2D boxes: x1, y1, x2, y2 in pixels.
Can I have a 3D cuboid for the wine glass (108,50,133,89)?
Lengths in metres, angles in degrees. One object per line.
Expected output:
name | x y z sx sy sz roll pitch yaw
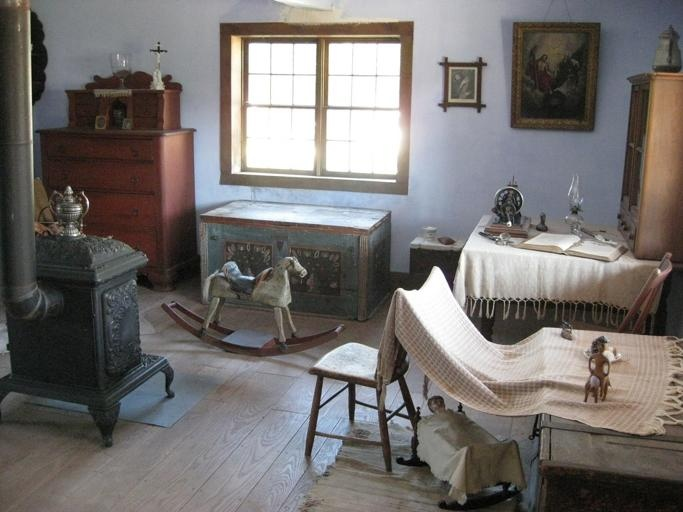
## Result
wine glass | -2.466 -2.091 6.304 0.196 0.379 0.290 -5 16 -19

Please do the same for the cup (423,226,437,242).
cup | 0.920 -0.235 5.816 0.128 0.110 0.144 2 4 27

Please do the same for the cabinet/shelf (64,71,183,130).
cabinet/shelf | -2.485 -1.744 6.337 1.221 0.586 0.539 2 15 5

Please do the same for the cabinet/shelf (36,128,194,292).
cabinet/shelf | -2.187 -0.506 5.384 1.535 1.828 1.022 2 11 6

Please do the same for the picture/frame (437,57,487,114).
picture/frame | 1.266 -1.795 5.806 0.538 0.604 0.051 3 12 14

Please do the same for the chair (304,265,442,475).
chair | 0.140 0.666 3.574 0.709 1.148 0.748 3 15 12
